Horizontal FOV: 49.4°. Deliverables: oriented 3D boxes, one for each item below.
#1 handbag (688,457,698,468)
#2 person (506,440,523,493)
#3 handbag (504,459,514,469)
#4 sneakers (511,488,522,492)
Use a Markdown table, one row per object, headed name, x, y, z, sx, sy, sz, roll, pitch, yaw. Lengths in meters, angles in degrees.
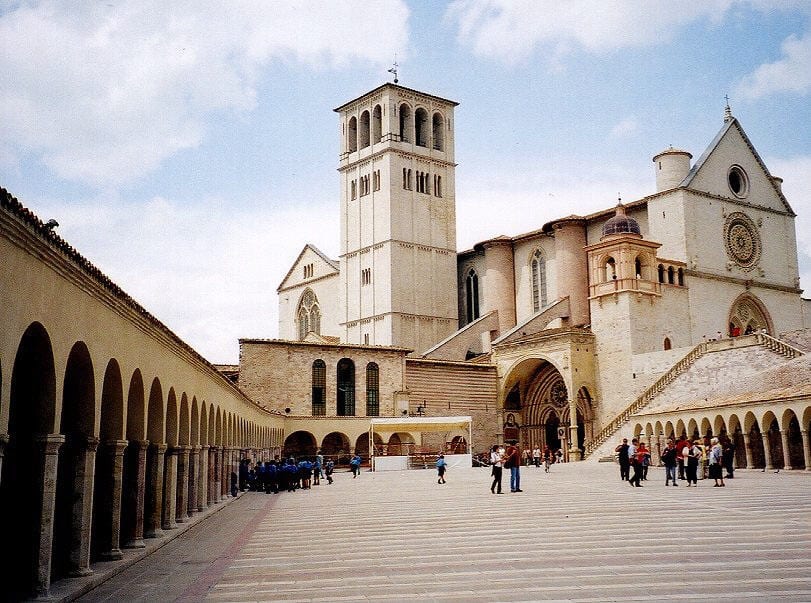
| name | x | y | z | sx | sy | sz | roll | pitch | yaw |
| --- | --- | --- | --- | --- | --- | --- | --- | --- | --- |
| handbag | 9.005 | 5.039 | 27.667 | 0.337 | 0.322 | 0.182 | -4 | -11 | 16 |
| person | 3.376 | 5.175 | 27.437 | 0.393 | 1.510 | 0.833 | -3 | -16 | 9 |
| handbag | 3.279 | 5.024 | 27.385 | 0.395 | 0.372 | 0.516 | -2 | -15 | 6 |
| sneakers | 3.462 | 5.815 | 27.205 | 0.407 | 0.166 | 0.137 | -3 | -9 | 10 |
